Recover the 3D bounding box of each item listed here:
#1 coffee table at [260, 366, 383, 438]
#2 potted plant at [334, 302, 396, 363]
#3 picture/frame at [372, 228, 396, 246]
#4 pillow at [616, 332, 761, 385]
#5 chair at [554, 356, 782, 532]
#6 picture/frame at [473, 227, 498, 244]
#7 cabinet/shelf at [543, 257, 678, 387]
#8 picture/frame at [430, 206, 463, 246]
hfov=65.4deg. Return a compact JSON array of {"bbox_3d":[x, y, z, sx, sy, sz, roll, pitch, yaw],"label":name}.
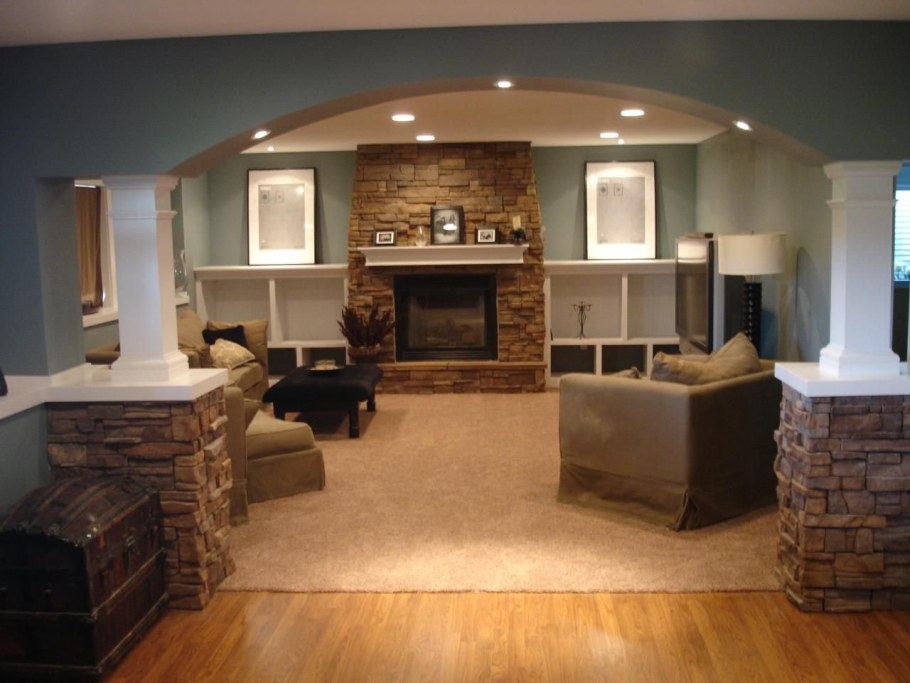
[{"bbox_3d":[-1.138,0.415,6.071,0.629,0.294,0.766,-1,8,2],"label":"coffee table"},{"bbox_3d":[-0.927,-0.111,7.761,0.605,0.758,0.624,-1,2,-3],"label":"potted plant"},{"bbox_3d":[-0.794,-1.157,7.834,0.213,0.202,0.022,0,-15,-1],"label":"picture/frame"},{"bbox_3d":[1.602,0.165,4.622,0.517,0.205,0.537,-10,-1,-7],"label":"pillow"},{"bbox_3d":[1.297,0.472,4.501,1.016,0.691,0.995,-7,10,-40],"label":"chair"},{"bbox_3d":[0.340,-1.179,7.838,0.194,0.202,0.015,0,-15,1],"label":"picture/frame"},{"bbox_3d":[1.689,-0.300,7.675,1.344,1.276,0.426,0,3,4],"label":"cabinet/shelf"},{"bbox_3d":[-0.089,-1.289,7.850,0.418,0.530,0.052,0,-1,-3],"label":"picture/frame"}]
